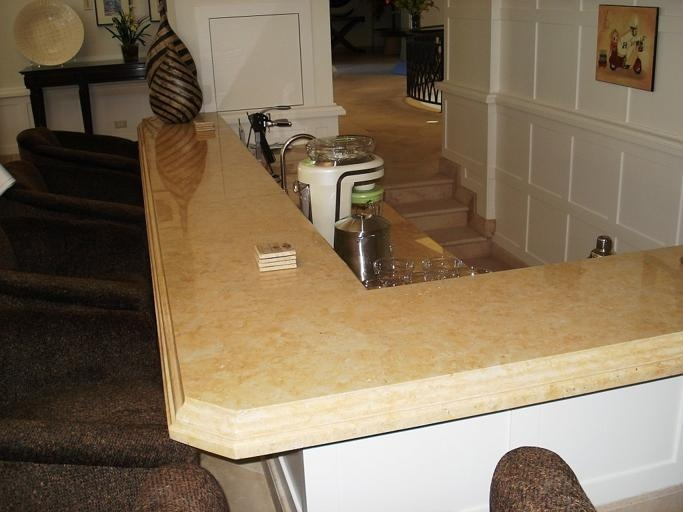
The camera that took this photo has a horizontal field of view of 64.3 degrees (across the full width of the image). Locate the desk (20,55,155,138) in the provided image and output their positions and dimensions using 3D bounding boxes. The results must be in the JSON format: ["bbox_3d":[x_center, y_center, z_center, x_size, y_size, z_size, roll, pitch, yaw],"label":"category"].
[{"bbox_3d":[-3.037,-1.823,6.719,1.331,1.142,0.515,-12,29,-20],"label":"desk"}]

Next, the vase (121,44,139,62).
[{"bbox_3d":[-2.557,-2.497,6.648,0.184,0.170,0.208,9,29,16],"label":"vase"}]

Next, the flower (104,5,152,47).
[{"bbox_3d":[-2.610,-2.795,6.744,0.562,0.534,0.593,-5,24,-13],"label":"flower"}]
